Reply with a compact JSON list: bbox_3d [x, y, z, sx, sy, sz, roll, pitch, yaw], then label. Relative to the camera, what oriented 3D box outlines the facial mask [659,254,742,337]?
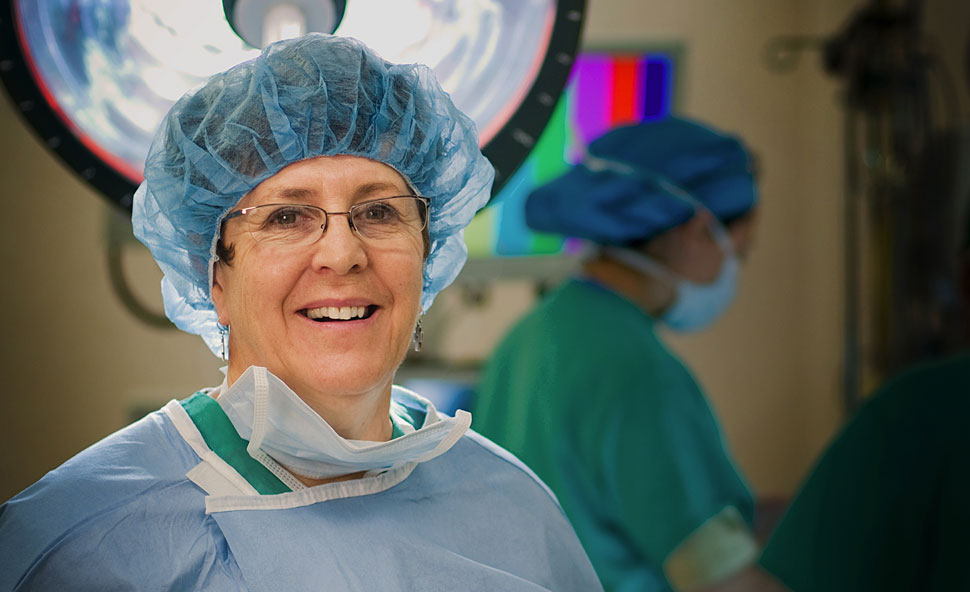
[{"bbox_3d":[0.697,-0.005,4.565,0.185,0.271,0.077,25,-4,-7],"label":"facial mask"}]

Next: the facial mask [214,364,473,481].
[{"bbox_3d":[-0.381,0.328,3.834,0.661,0.358,0.168,-1,25,0],"label":"facial mask"}]
